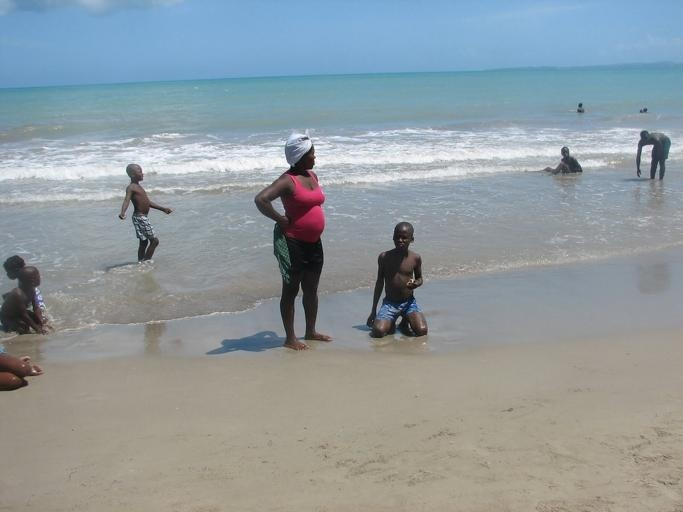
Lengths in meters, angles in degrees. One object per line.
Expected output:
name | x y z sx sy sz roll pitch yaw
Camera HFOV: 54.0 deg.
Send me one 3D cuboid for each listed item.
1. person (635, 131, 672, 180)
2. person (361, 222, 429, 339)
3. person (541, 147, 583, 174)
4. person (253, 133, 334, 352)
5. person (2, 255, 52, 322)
person | 6.927 -2.280 14.970 0.599 1.069 1.535 1 14 22
person | 0.546 0.232 7.094 0.639 1.187 0.596 -5 16 3
person | 5.160 -2.255 15.813 1.029 0.641 0.605 -16 18 -42
person | -0.475 -0.107 6.471 0.753 2.113 0.422 -14 19 -27
person | -3.621 0.393 7.711 0.273 0.738 0.810 -40 27 -21
